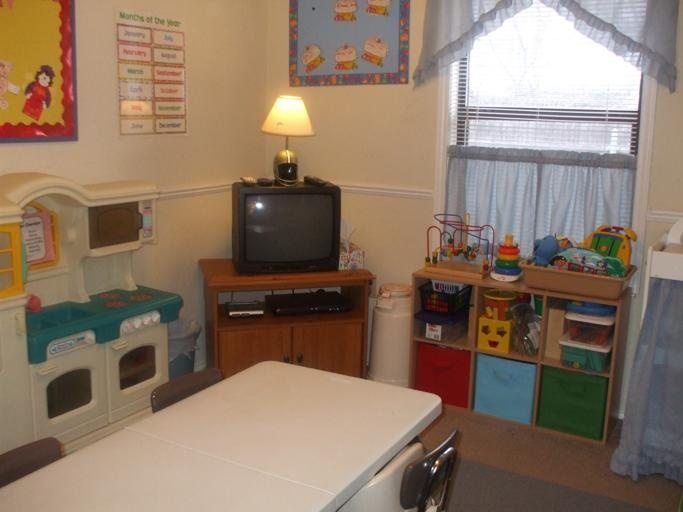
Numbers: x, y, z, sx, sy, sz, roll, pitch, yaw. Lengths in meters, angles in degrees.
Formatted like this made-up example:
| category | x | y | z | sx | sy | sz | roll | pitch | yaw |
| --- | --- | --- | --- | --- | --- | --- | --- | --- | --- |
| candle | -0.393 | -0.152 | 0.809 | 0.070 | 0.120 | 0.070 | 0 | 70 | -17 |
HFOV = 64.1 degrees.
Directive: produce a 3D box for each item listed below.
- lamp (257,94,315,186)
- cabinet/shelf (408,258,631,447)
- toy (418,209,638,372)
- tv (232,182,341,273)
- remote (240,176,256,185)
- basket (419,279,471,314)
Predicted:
| category | x | y | z | sx | sy | sz | roll | pitch | yaw |
| --- | --- | --- | --- | --- | --- | --- | --- | --- | --- |
| lamp | -0.403 | -0.869 | 4.046 | 0.370 | 0.653 | 0.360 | -4 | 12 | -20 |
| cabinet/shelf | 1.177 | 0.586 | 3.789 | 1.320 | 1.022 | 0.495 | 8 | 22 | 25 |
| toy | 1.282 | 0.265 | 3.636 | 0.964 | 0.984 | 0.304 | 6 | 10 | 26 |
| tv | -0.416 | -0.097 | 4.146 | 0.872 | 0.831 | 0.590 | -2 | 7 | -16 |
| remote | -0.644 | -0.525 | 3.841 | 0.108 | 0.042 | 0.105 | 6 | 13 | 25 |
| basket | 0.772 | 0.268 | 3.943 | 0.211 | 0.140 | 0.293 | 5 | 10 | 33 |
